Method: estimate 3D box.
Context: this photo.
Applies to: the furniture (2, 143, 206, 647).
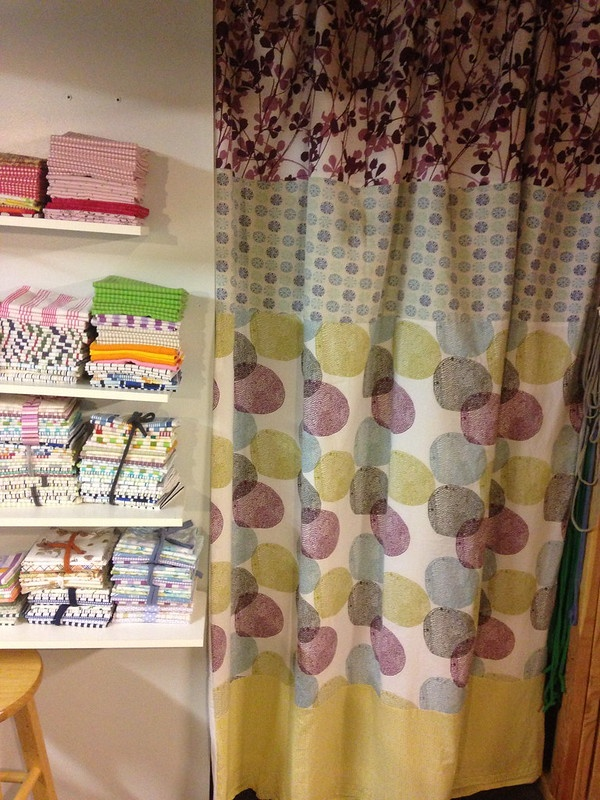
[{"bbox_3d":[-0.523,0.064,1.904,0.569,1.466,0.335,2,11,-6],"label":"furniture"}]
